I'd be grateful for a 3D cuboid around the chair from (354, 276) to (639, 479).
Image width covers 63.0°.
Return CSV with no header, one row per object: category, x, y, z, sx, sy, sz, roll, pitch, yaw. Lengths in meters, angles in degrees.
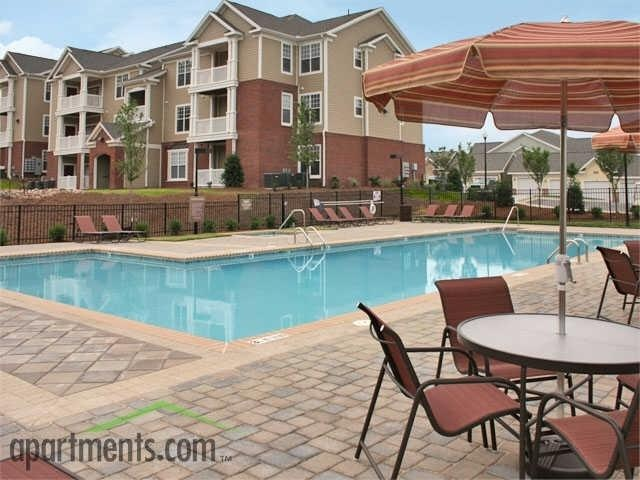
chair,1.443,1.105,4.568,2.268,1.458,1.295,-5,10,-17
